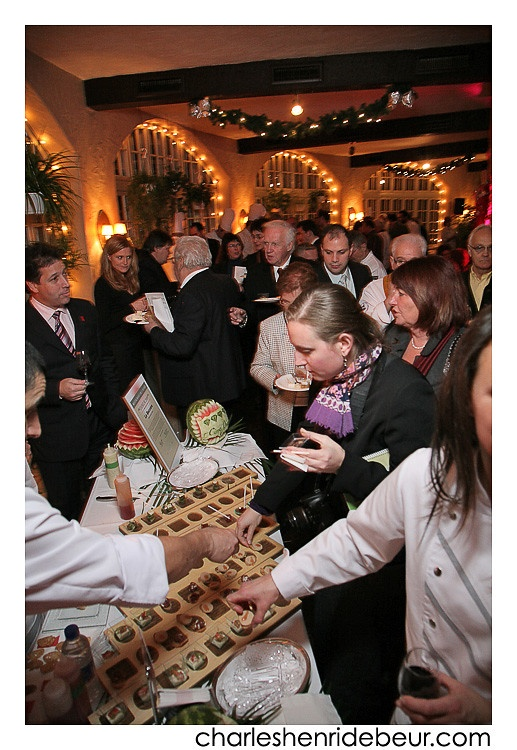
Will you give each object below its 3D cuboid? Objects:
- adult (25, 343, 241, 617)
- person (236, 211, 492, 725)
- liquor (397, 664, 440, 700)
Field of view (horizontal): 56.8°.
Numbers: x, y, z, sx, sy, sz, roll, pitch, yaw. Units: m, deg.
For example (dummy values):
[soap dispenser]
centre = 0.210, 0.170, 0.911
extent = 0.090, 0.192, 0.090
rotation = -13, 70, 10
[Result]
[adult]
centre = -0.454, 0.332, 1.735
extent = 0.614, 0.213, 0.950
rotation = 6, 15, 12
[person]
centre = 0.119, 0.191, 1.266
extent = 0.736, 1.099, 0.440
rotation = -2, 13, -12
[liquor]
centre = 0.253, 0.502, 0.783
extent = 0.050, 0.047, 0.048
rotation = -6, -3, 37
